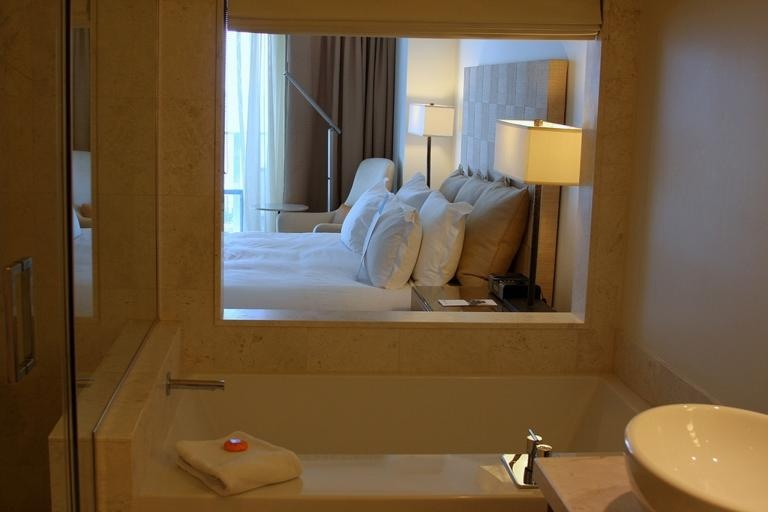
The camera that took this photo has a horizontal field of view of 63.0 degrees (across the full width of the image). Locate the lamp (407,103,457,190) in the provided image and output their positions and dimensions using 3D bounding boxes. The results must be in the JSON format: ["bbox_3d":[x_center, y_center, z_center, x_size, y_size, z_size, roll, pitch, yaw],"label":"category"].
[{"bbox_3d":[0.369,-0.840,5.134,0.276,0.637,0.286,10,16,21],"label":"lamp"}]

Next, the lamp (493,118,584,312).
[{"bbox_3d":[0.756,-0.205,3.115,0.316,0.916,0.722,1,14,-1],"label":"lamp"}]

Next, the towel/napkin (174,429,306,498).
[{"bbox_3d":[-0.491,0.683,2.103,0.373,0.087,0.260,13,19,38],"label":"towel/napkin"}]

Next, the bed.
[{"bbox_3d":[0.029,-0.245,3.820,1.794,1.140,1.743,0,15,2],"label":"bed"}]
